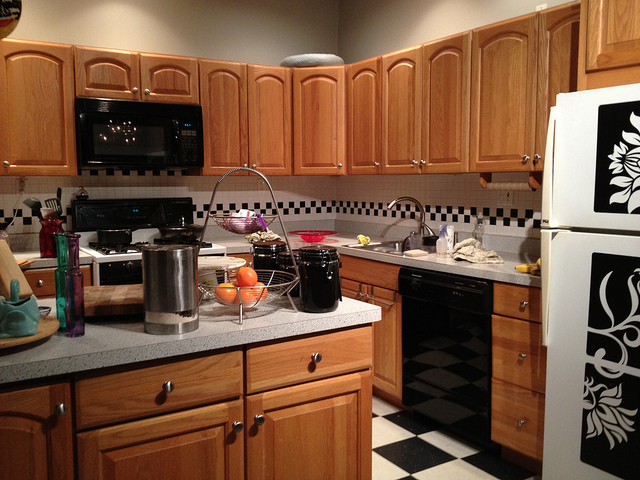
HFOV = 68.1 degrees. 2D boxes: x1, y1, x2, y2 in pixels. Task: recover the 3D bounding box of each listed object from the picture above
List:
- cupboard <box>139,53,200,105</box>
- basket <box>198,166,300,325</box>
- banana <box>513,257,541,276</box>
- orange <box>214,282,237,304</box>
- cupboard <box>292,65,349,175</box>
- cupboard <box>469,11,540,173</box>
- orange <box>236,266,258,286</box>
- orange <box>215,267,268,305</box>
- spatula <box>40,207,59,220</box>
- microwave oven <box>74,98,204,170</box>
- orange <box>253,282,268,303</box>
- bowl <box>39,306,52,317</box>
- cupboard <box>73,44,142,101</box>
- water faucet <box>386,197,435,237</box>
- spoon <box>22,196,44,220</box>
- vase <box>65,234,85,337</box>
[{"bbox_3d":[-1.189,-1.263,3.729,0.433,0.378,0.287,-2,13,-25],"label":"cupboard"},{"bbox_3d":[-0.313,-0.003,1.899,0.404,0.593,0.386,4,6,14],"label":"basket"},{"bbox_3d":[1.198,0.155,2.730,0.116,0.094,0.206,7,14,9],"label":"banana"},{"bbox_3d":[-0.343,0.203,1.750,0.069,0.063,0.074,12,-1,-24],"label":"orange"},{"bbox_3d":[0.011,-1.060,4.357,0.417,0.970,0.503,1,5,8],"label":"cupboard"},{"bbox_3d":[1.154,-0.911,2.988,0.241,1.059,0.430,-5,12,-31],"label":"cupboard"},{"bbox_3d":[-0.271,0.139,1.769,0.063,0.080,0.063,-23,-5,32],"label":"orange"},{"bbox_3d":[-0.283,0.175,1.767,0.146,0.097,0.153,-2,5,-20],"label":"orange"},{"bbox_3d":[-1.955,-0.191,3.429,0.096,0.098,0.078,-9,11,-7],"label":"spatula"},{"bbox_3d":[-1.357,-0.825,3.648,0.890,0.484,0.228,0,13,-18],"label":"microwave oven"},{"bbox_3d":[-0.234,0.197,1.788,0.060,0.077,0.061,-1,9,-24],"label":"orange"},{"bbox_3d":[-1.032,0.269,1.789,0.041,0.020,0.043,3,7,0],"label":"bowl"},{"bbox_3d":[-1.607,-1.219,3.618,0.432,0.398,0.222,-3,-13,-29],"label":"cupboard"},{"bbox_3d":[0.771,-0.153,3.734,0.247,0.356,0.321,-3,10,-36],"label":"water faucet"},{"bbox_3d":[-2.120,-0.232,3.529,0.112,0.184,0.497,-4,16,-31],"label":"spoon"},{"bbox_3d":[-0.820,0.160,1.629,0.068,0.339,0.096,1,12,-21],"label":"vase"}]
